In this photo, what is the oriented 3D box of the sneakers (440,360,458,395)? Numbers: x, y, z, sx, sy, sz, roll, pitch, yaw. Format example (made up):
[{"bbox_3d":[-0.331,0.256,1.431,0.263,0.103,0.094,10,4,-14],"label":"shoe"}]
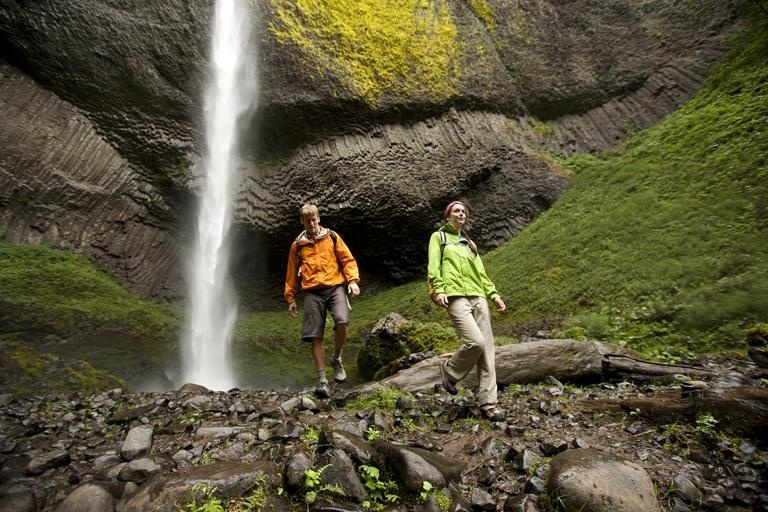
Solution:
[{"bbox_3d":[1.107,2.118,6.675,0.231,0.558,0.240,-10,-9,-35],"label":"sneakers"}]

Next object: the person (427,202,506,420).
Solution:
[{"bbox_3d":[1.411,0.805,6.679,1.130,3.862,0.820,-10,-17,3],"label":"person"}]

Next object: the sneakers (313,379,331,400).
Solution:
[{"bbox_3d":[-1.137,2.481,7.071,0.235,0.198,0.438,0,-15,-3],"label":"sneakers"}]
